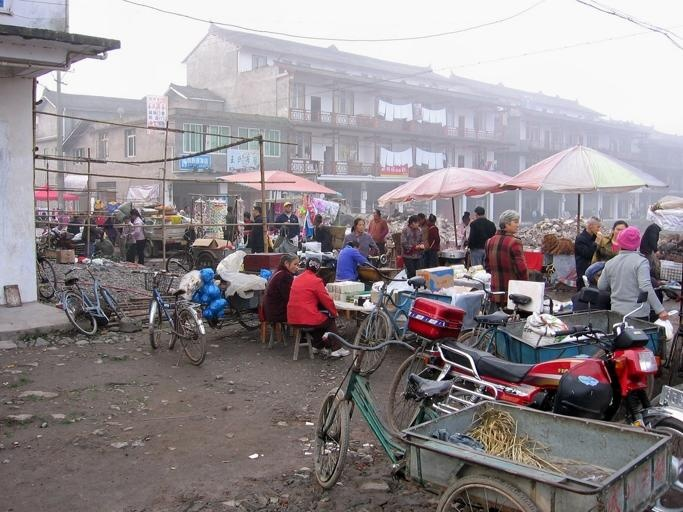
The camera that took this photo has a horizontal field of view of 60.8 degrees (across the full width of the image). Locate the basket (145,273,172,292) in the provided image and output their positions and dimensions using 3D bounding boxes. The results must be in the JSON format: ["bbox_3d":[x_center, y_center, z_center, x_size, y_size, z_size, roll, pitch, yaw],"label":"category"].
[{"bbox_3d":[-3.009,0.407,9.610,0.471,0.342,0.253,5,5,6],"label":"basket"}]

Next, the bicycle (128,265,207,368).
[{"bbox_3d":[-2.523,0.968,9.388,0.957,1.212,1.924,-6,16,-39],"label":"bicycle"}]

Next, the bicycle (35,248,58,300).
[{"bbox_3d":[-6.413,0.373,12.703,0.356,0.766,2.043,-4,11,-26],"label":"bicycle"}]

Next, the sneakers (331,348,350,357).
[{"bbox_3d":[-0.039,1.491,9.037,0.299,0.142,0.107,-3,5,-33],"label":"sneakers"}]

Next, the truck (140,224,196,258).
[{"bbox_3d":[-5.743,-0.491,19.434,1.047,0.880,1.728,-2,7,-28],"label":"truck"}]

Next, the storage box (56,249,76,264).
[{"bbox_3d":[-8.097,-0.003,17.111,0.425,0.455,0.411,8,-11,-37],"label":"storage box"}]

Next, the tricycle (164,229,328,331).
[{"bbox_3d":[-1.820,0.518,9.795,2.159,1.476,1.081,13,10,32],"label":"tricycle"}]

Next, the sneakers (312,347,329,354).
[{"bbox_3d":[-0.334,1.465,9.040,0.254,0.118,0.106,1,7,12],"label":"sneakers"}]
